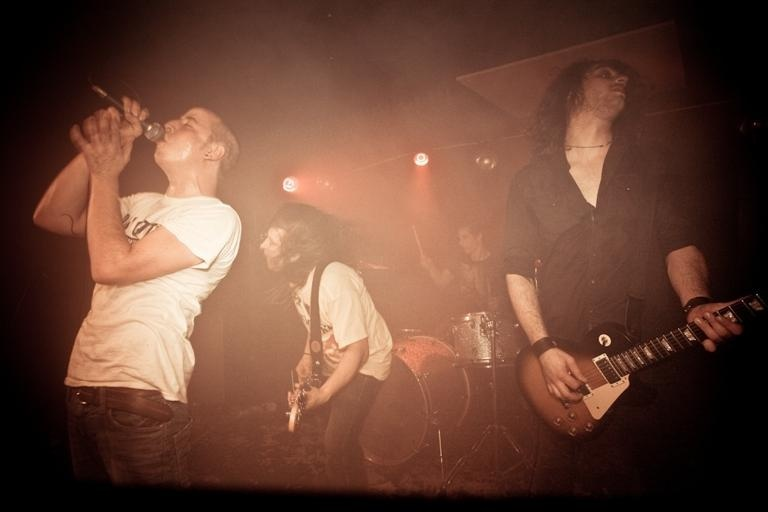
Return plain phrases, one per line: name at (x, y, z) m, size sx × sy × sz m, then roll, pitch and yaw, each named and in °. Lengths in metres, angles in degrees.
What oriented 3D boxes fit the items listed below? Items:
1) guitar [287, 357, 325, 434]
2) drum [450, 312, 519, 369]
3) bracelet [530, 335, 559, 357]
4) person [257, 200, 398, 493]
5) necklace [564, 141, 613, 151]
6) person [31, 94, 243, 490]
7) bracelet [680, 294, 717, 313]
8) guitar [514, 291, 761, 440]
guitar at (-0.538, 0.945, 4.176) m, size 0.229 × 0.552 × 0.370 m, roll -1°, pitch -4°, yaw -7°
drum at (0.758, 0.654, 4.706) m, size 0.401 × 0.247 × 0.405 m, roll 0°, pitch -12°, yaw 0°
bracelet at (1.016, 0.562, 3.873) m, size 0.125 × 0.047 × 0.128 m, roll -25°, pitch -12°, yaw 18°
person at (-0.391, 0.589, 4.247) m, size 0.834 × 1.977 × 0.517 m, roll -2°, pitch -4°, yaw 4°
necklace at (1.398, -0.754, 4.144) m, size 0.359 × 0.060 × 0.054 m, roll 4°, pitch 5°, yaw 2°
person at (-1.447, 0.188, 3.683) m, size 1.097 × 2.332 × 0.522 m, roll 0°, pitch -4°, yaw -20°
bracelet at (1.896, 0.280, 3.691) m, size 0.118 × 0.047 × 0.126 m, roll -24°, pitch -13°, yaw 40°
guitar at (1.464, 0.667, 3.771) m, size 1.647 × 0.659 × 0.192 m, roll -26°, pitch -10°, yaw 15°
